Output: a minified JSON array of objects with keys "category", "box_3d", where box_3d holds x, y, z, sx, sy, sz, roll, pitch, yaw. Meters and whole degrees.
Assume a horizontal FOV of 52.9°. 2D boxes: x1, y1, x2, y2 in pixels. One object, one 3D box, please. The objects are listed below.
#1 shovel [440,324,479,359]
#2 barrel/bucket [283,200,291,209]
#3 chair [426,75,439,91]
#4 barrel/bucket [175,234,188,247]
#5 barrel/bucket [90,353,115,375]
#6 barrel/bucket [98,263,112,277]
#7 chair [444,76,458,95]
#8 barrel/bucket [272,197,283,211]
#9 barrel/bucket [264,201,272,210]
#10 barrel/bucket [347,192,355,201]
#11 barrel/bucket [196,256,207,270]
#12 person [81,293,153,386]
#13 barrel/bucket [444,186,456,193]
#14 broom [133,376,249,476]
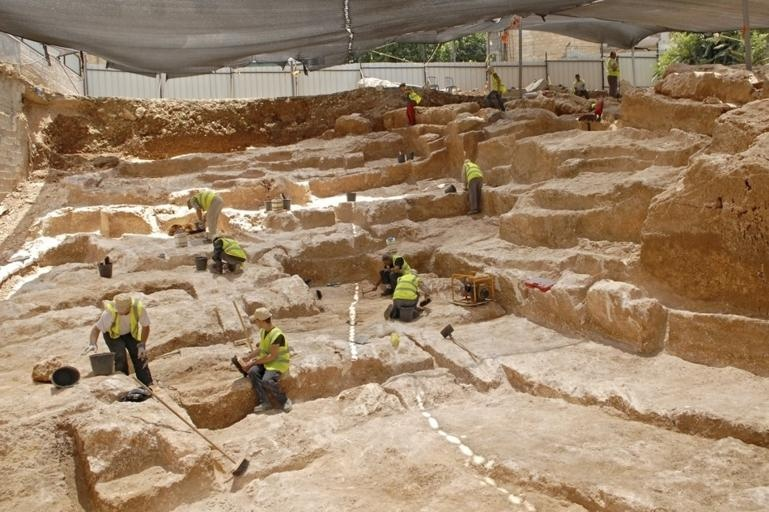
[{"category":"shovel","box_3d":[1.212,1.333,12.267,0.345,0.291,0.615,-8,38,-47]},{"category":"barrel/bucket","box_3d":[-2.138,-1.116,16.937,0.162,0.224,0.217,-6,-21,-7]},{"category":"chair","box_3d":[1.559,-5.496,24.758,0.407,0.438,0.706,-5,15,4]},{"category":"barrel/bucket","box_3d":[-3.885,-0.307,14.775,0.241,0.252,0.341,-10,15,-15]},{"category":"barrel/bucket","box_3d":[-3.965,1.508,10.880,0.295,0.233,0.306,-4,-2,0]},{"category":"barrel/bucket","box_3d":[-4.874,0.226,13.492,0.223,0.264,0.240,4,9,-1]},{"category":"chair","box_3d":[2.128,-5.448,24.674,0.375,0.428,1.103,-5,15,6]},{"category":"barrel/bucket","box_3d":[-2.344,-1.125,17.031,0.262,0.260,0.254,0,2,0]},{"category":"barrel/bucket","box_3d":[-2.572,-1.089,17.006,0.163,0.187,0.162,1,1,0]},{"category":"barrel/bucket","box_3d":[-0.708,-1.308,17.206,0.182,0.217,0.186,0,12,0]},{"category":"barrel/bucket","box_3d":[-3.312,0.134,13.939,0.215,0.175,0.196,-1,9,0]},{"category":"person","box_3d":[-3.839,1.099,11.110,0.676,1.500,0.790,-16,40,15]},{"category":"barrel/bucket","box_3d":[1.437,-1.443,16.637,0.245,0.141,0.375,-5,15,5]},{"category":"broom","box_3d":[-2.674,2.347,10.539,1.512,0.174,0.307,39,2,9]}]
